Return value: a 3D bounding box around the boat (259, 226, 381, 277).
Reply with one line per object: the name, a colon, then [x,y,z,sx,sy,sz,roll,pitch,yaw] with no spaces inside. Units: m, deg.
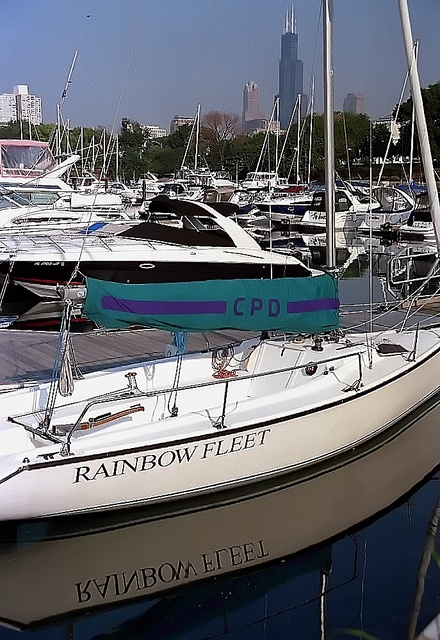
boat: [2.094,-1.611,13.722,3.184,0.774,1.770,-4,7,-35]
